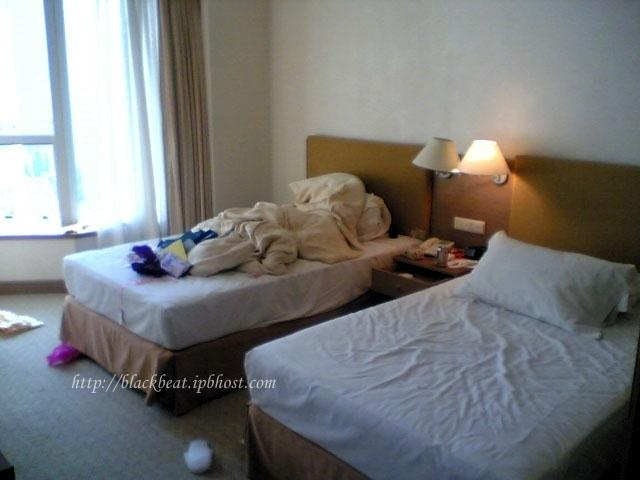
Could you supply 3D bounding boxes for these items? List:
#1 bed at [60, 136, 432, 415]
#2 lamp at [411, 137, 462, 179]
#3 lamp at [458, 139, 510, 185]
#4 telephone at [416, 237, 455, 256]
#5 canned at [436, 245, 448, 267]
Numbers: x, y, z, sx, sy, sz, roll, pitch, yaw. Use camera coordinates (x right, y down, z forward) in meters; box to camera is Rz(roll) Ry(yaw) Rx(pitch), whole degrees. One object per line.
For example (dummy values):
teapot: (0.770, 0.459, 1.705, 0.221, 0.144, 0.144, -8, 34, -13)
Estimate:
bed: (-0.416, 0.199, 3.971, 2.695, 1.568, 1.765, -17, 24, -42)
lamp: (0.900, -0.655, 3.722, 0.311, 0.200, 0.318, 23, 27, 23)
lamp: (1.223, -0.562, 3.598, 0.410, 0.322, 0.419, 2, 3, -1)
telephone: (0.916, 0.054, 3.947, 0.178, 0.058, 0.185, -27, 27, -36)
canned: (0.912, 0.130, 3.683, 0.080, 0.144, 0.136, -2, 13, -10)
